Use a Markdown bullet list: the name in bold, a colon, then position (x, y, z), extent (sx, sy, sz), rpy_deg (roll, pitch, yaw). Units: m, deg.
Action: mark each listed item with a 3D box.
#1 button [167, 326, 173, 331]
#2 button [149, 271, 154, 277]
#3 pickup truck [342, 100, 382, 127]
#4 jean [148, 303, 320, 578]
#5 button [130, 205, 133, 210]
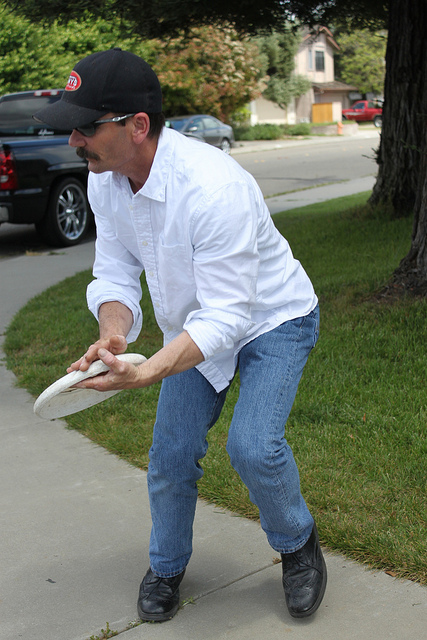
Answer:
- **button**: position (-0.136, 0.022, 1.958), extent (0.014, 0.012, 0.003), rpy_deg (1, 29, 11)
- **button**: position (-0.180, -0.137, 1.818), extent (0.018, 0.017, 0.005), rpy_deg (10, 19, 38)
- **pickup truck**: position (12.214, -17.520, 51.835), extent (3.053, 1.689, 1.826), rpy_deg (7, 16, 32)
- **jean**: position (0.041, 0.414, 1.877), extent (0.525, 0.841, 0.361), rpy_deg (1, 15, 8)
- **button**: position (-0.232, -0.322, 1.772), extent (0.011, 0.014, 0.005), rpy_deg (-10, -9, 41)
